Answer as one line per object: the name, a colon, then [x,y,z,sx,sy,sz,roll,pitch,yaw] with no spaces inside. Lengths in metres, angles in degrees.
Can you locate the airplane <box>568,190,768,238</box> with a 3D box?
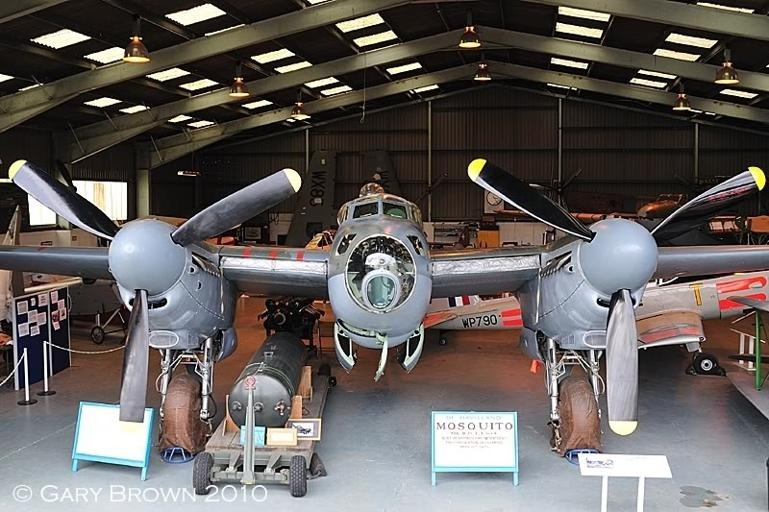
airplane: [10.368,-1.549,22.413,2.906,0.924,3.325,5,11,-46]

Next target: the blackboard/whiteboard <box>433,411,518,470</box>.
blackboard/whiteboard: [1.749,3.678,11.946,1.317,0.776,0.157,0,-14,0]

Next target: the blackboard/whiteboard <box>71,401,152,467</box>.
blackboard/whiteboard: [-5.494,3.659,12.241,2.039,1.213,0.719,1,2,3]
